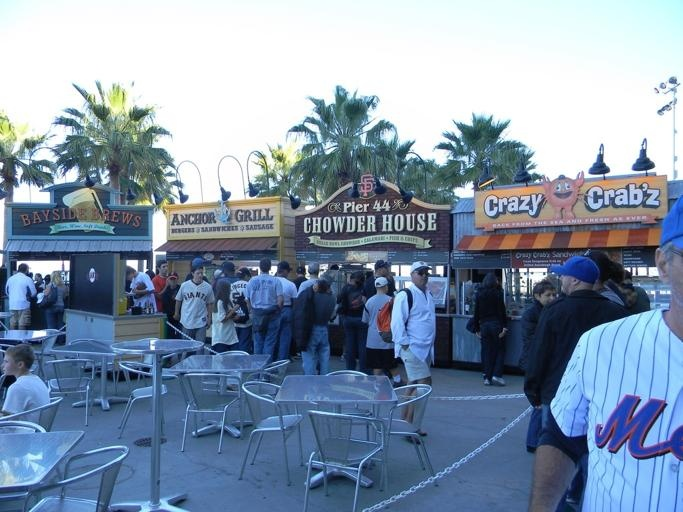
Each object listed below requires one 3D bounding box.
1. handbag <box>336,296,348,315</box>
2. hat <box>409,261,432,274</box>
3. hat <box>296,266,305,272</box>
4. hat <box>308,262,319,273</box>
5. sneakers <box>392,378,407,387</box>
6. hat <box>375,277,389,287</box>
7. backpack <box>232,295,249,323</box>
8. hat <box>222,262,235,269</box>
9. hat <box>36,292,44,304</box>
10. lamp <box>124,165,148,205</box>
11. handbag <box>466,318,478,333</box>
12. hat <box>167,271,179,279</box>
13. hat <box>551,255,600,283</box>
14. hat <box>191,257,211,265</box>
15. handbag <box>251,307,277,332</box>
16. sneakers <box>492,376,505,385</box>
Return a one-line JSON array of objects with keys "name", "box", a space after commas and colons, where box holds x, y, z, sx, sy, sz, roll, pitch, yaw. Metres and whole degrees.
[{"name": "handbag", "box": [-0.002, 0.797, 12.066, 0.093, 0.274, 0.391, 1, 0, -14]}, {"name": "hat", "box": [0.931, 0.136, 9.132, 0.163, 0.125, 0.219, 4, -6, -26]}, {"name": "hat", "box": [-0.737, 0.252, 13.626, 0.129, 0.100, 0.178, 3, -6, 2]}, {"name": "hat", "box": [-0.465, 0.214, 12.304, 0.128, 0.165, 0.162, 7, 39, -3]}, {"name": "sneakers", "box": [0.893, 1.932, 11.306, 0.105, 0.130, 0.307, 1, -14, -38]}, {"name": "hat", "box": [0.565, 0.365, 10.434, 0.158, 0.128, 0.268, 2, 1, 17]}, {"name": "backpack", "box": [-1.609, 0.857, 11.756, 0.241, 0.418, 0.569, 1, 0, 3]}, {"name": "hat", "box": [-1.933, 0.171, 12.779, 0.165, 0.128, 0.167, 1, 0, -24]}, {"name": "hat", "box": [-6.212, 0.862, 15.272, 0.202, 0.205, 0.112, 13, 1, -14]}, {"name": "lamp", "box": [-7.992, -2.762, 28.960, 0.865, 1.299, 2.806, 1, 0, -13]}, {"name": "handbag", "box": [2.173, 1.147, 12.309, 0.129, 0.244, 0.321, 1, 0, -14]}, {"name": "hat", "box": [-3.562, 0.400, 15.594, 0.200, 0.114, 0.334, 0, -3, -4]}, {"name": "hat", "box": [2.156, 0.113, 6.854, 0.344, 0.193, 0.233, 10, 7, 37]}, {"name": "hat", "box": [-2.885, 0.096, 15.282, 0.281, 0.156, 0.170, 3, -1, -35]}, {"name": "handbag", "box": [-1.218, 1.008, 11.811, 0.394, 0.378, 0.313, 9, -9, -33]}, {"name": "sneakers", "box": [2.534, 2.002, 11.923, 0.201, 0.145, 0.200, 1, 0, 9]}]
